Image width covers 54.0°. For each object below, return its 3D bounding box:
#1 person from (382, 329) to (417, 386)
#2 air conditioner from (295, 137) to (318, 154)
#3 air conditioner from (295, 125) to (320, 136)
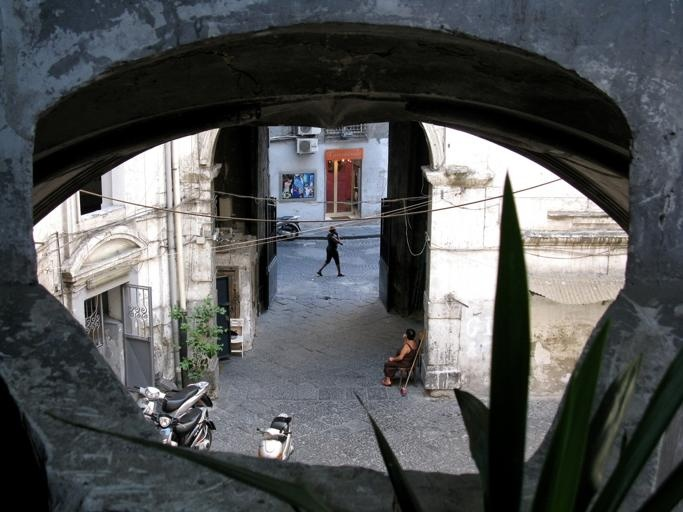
[{"bbox_3d":[1.000,1.662,11.240,0.555,1.006,0.680,3,12,7],"label":"person"},{"bbox_3d":[-1.272,-4.072,24.691,0.797,0.672,0.443,1,12,-2],"label":"air conditioner"},{"bbox_3d":[-1.170,-4.516,24.207,0.842,0.302,1.509,2,12,-1],"label":"air conditioner"}]
